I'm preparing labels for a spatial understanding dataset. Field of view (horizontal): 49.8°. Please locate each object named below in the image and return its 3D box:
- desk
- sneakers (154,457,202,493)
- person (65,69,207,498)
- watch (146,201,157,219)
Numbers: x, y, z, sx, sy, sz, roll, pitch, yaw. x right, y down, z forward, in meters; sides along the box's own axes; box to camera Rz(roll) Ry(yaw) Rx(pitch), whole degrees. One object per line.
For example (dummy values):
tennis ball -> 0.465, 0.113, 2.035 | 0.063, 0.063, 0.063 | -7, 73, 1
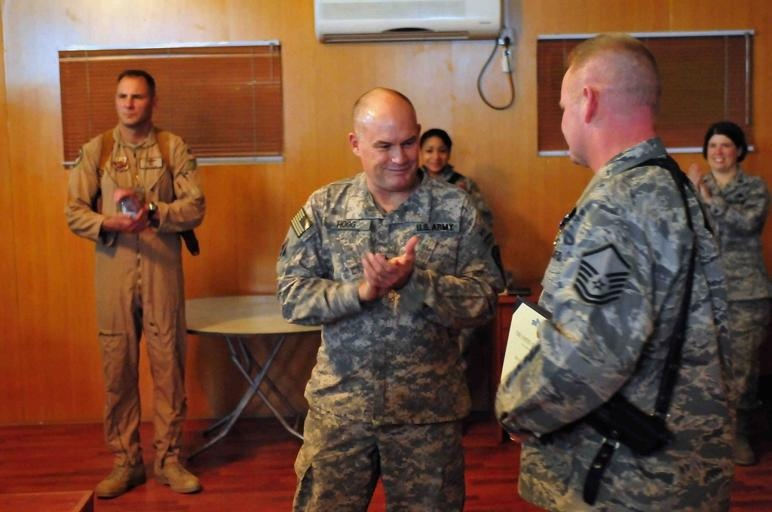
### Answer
desk -> -0.925, 0.761, 5.537 | 1.070, 0.760, 1.072 | 0, 3, -8
sneakers -> -1.278, 1.341, 5.076 | 0.324, 0.177, 0.118 | 7, 15, 39
person -> -1.489, 0.141, 5.105 | 0.819, 2.523, 0.720 | -7, 12, -17
watch -> -1.413, -0.291, 5.008 | 0.021, 0.078, 0.082 | 0, 15, -34
